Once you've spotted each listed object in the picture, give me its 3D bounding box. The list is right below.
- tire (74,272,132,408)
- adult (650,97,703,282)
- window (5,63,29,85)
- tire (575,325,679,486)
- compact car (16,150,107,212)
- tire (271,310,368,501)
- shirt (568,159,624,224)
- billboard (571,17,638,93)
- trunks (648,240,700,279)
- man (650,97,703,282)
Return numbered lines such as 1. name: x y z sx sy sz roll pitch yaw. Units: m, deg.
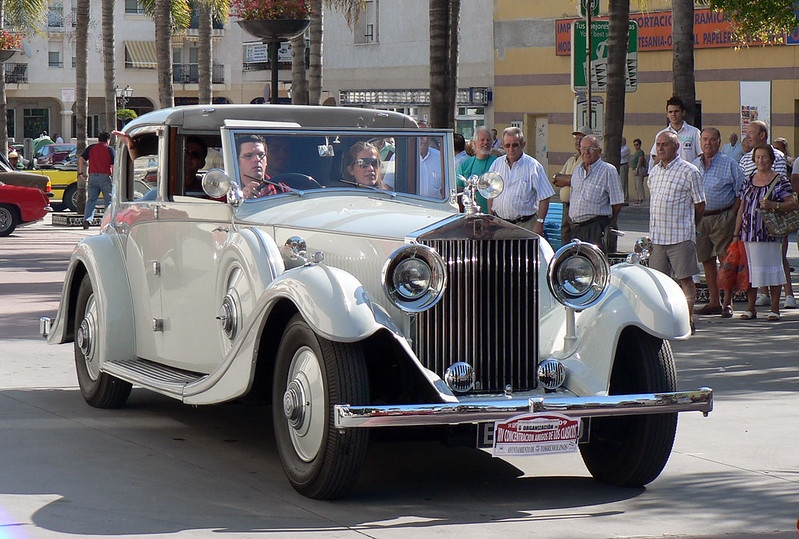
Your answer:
1. tire: -3.002 0.728 12.987 0.397 1.267 1.071 -1 16 -30
2. adult: 3.920 -1.298 17.764 0.710 2.128 0.611 -3 -6 5
3. window: -21.109 -10.939 70.441 1.363 1.268 1.269 -1 1 -44
4. tire: 1.957 1.131 10.953 0.470 1.486 1.275 8 -6 -19
5. compact car: -9.325 -2.396 34.937 2.588 1.192 1.410 -2 6 -13
6. tire: -0.641 1.131 10.588 0.516 1.600 1.361 0 -8 -34
7. shirt: 2.570 -1.023 16.811 0.909 0.850 0.500 0 -4 42
8. billboard: 3.260 -3.414 20.240 1.305 1.441 0.157 1 -2 -27
9. trunks: 3.480 -0.143 16.251 0.425 0.631 0.727 5 0 -44
10. man: 3.938 -1.213 17.770 0.803 2.407 0.701 -9 -14 41
